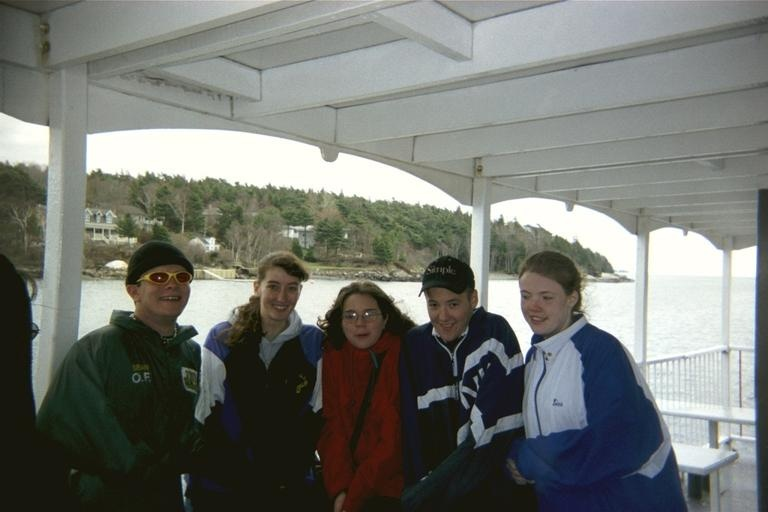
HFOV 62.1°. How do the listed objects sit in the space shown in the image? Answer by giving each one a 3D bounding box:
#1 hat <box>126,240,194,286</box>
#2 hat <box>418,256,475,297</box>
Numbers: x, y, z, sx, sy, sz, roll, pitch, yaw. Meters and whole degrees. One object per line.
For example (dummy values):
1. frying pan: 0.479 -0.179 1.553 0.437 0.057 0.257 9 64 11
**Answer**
1. hat: -1.562 0.028 4.386 0.319 0.199 0.330 5 -1 -34
2. hat: 0.432 0.136 4.323 0.229 0.180 0.325 -4 -7 27
